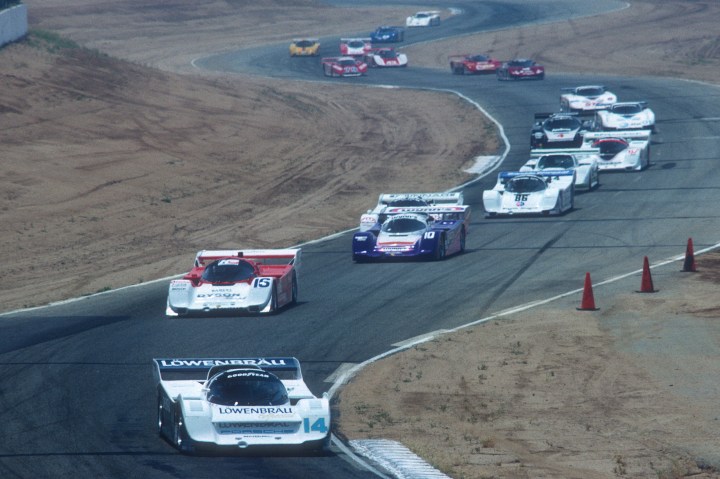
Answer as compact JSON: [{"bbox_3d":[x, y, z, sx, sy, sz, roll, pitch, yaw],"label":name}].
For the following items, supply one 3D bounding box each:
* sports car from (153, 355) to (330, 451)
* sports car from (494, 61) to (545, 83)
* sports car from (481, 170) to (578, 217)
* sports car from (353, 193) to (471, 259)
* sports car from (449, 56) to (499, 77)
[{"bbox_3d":[-3.412,4.634,34.769,4.871,1.904,3.370,-1,25,-4],"label":"sports car"},{"bbox_3d":[10.975,-11.501,82.698,2.661,1.249,1.425,-7,28,-17],"label":"sports car"},{"bbox_3d":[7.464,-2.167,53.244,3.922,0.934,3.954,3,19,16],"label":"sports car"},{"bbox_3d":[2.362,-1.148,50.407,4.365,1.666,8.726,3,22,6],"label":"sports car"},{"bbox_3d":[8.129,-12.336,86.216,2.490,1.329,4.271,-9,24,-20],"label":"sports car"}]
